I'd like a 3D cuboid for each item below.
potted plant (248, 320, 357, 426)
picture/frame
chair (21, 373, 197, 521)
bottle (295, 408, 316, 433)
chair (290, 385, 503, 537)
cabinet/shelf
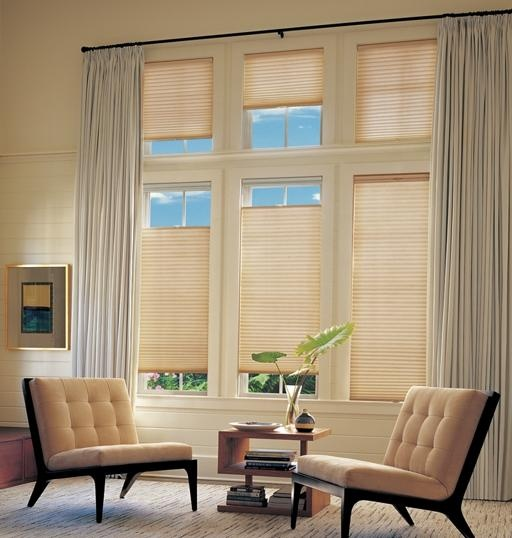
[{"bbox_3d":[0.306,0.676,3.821,0.743,0.566,0.920,0,-5,35],"label":"potted plant"},{"bbox_3d":[-1.858,0.346,5.006,0.875,0.912,0.062,-1,-2,12],"label":"picture/frame"},{"bbox_3d":[-0.904,1.048,3.609,0.908,0.681,0.905,9,-12,-35],"label":"chair"},{"bbox_3d":[0.295,0.952,3.650,0.134,0.129,0.125,1,-8,3],"label":"bottle"},{"bbox_3d":[0.704,0.948,2.953,0.797,0.670,0.652,3,-11,-11],"label":"chair"},{"bbox_3d":[0.098,1.235,3.620,0.593,0.411,0.327,-2,-12,15],"label":"cabinet/shelf"}]
